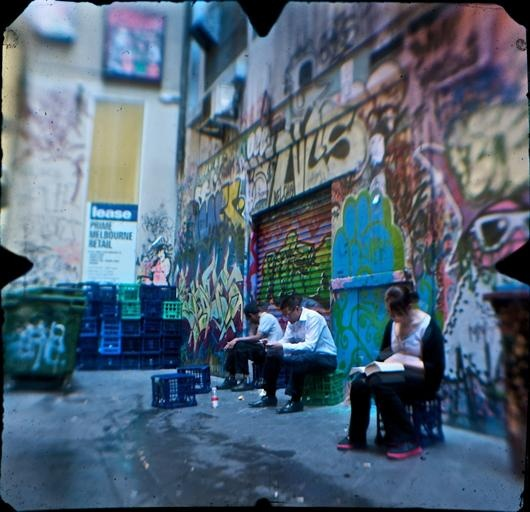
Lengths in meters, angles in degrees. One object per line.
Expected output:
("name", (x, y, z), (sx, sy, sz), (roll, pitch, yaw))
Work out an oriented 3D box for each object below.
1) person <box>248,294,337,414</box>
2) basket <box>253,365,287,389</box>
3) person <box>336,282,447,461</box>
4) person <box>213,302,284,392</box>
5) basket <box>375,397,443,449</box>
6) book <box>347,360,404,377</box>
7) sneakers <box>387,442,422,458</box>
("person", (0.402, 1.254, 5.472), (0.849, 1.504, 0.913), (6, -11, -32))
("basket", (0.075, 2.088, 6.966), (0.555, 0.552, 0.631), (2, -10, -6))
("person", (1.084, 0.944, 3.495), (0.744, 1.377, 0.571), (3, -9, -15))
("person", (-0.263, 1.832, 7.715), (1.267, 2.287, 1.104), (6, -18, -10))
("basket", (1.321, 1.436, 3.549), (0.427, 0.423, 0.490), (-4, -5, -12))
("book", (0.941, 0.938, 3.416), (0.431, 0.117, 0.245), (-5, -12, 23))
("sneakers", (1.067, 1.483, 3.169), (0.257, 0.148, 0.110), (4, -10, -10))
